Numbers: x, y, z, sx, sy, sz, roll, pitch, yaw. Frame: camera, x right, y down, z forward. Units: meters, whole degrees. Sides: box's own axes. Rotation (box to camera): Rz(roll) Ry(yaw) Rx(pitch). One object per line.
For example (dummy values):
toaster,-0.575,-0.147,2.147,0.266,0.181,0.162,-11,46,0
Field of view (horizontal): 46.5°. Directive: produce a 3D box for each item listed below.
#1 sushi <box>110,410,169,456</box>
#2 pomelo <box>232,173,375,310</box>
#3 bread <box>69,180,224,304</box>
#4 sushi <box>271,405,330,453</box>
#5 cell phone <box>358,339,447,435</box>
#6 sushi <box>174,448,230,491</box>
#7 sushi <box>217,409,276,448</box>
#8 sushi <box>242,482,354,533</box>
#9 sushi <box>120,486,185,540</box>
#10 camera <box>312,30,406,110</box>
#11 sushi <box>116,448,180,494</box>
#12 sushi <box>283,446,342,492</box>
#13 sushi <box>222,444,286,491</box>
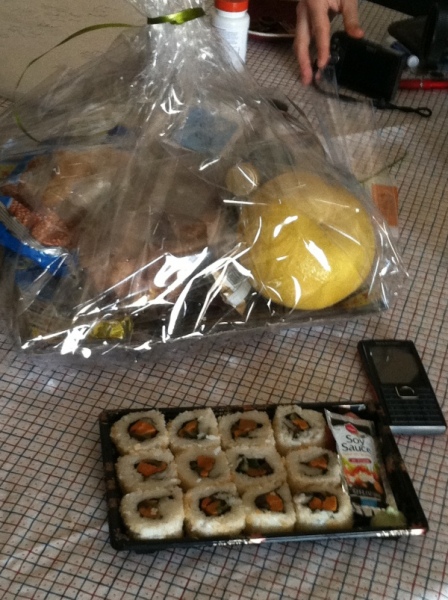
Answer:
sushi,-0.069,0.104,0.414,0.036,0.012,0.034,-5,36,-9
pomelo,0.077,-0.055,0.487,0.123,0.096,0.094,8,41,11
bread,-0.063,-0.055,0.466,0.138,0.067,0.076,-18,43,-20
sushi,0.062,0.105,0.431,0.037,0.016,0.041,-5,40,-3
cell phone,0.169,0.079,0.495,0.059,0.026,0.106,0,39,1
sushi,-0.020,0.125,0.416,0.045,0.024,0.042,-4,24,-8
sushi,0.019,0.105,0.429,0.047,0.023,0.032,-7,25,-13
sushi,0.056,0.148,0.376,0.073,0.025,0.047,-5,21,-10
sushi,-0.050,0.149,0.361,0.046,0.016,0.045,-4,21,-11
camera,0.225,-0.369,0.839,0.118,0.098,0.050,15,44,18
sushi,-0.058,0.129,0.391,0.039,0.011,0.034,-7,24,-16
sushi,0.079,0.136,0.433,0.044,0.025,0.029,-1,22,2
sushi,0.025,0.130,0.405,0.035,0.012,0.031,-8,44,-12
